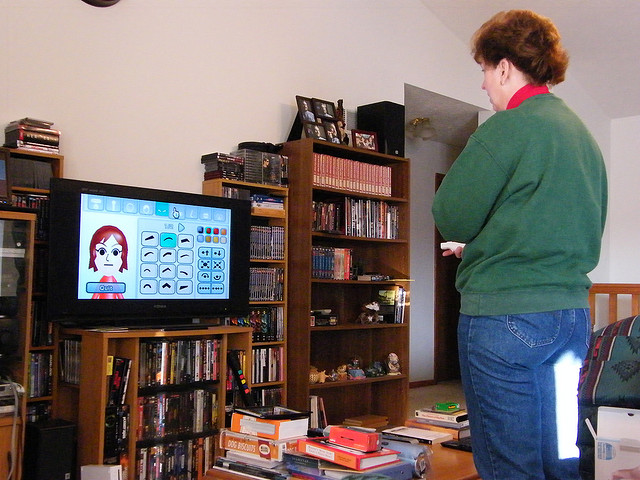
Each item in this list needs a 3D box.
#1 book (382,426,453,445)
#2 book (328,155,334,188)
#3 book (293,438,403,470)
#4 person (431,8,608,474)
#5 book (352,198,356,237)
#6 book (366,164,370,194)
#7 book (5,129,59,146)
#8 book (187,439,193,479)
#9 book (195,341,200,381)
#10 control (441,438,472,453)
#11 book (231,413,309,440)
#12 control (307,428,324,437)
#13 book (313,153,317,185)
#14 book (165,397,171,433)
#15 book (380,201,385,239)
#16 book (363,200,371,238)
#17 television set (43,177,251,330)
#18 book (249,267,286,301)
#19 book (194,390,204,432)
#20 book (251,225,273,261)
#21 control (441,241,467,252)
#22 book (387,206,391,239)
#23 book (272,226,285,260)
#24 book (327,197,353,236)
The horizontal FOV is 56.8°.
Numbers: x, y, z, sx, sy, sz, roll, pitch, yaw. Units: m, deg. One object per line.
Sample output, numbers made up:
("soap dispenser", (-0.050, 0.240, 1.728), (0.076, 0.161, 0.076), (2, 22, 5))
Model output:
("book", (0.453, 0.916, 2.803), (0.154, 0.019, 0.210), (2, -4, -44))
("book", (0.074, -0.487, 4.325), (0.035, 0.225, 0.058), (-9, -13, 38))
("book", (0.061, 0.738, 2.057), (0.171, 0.026, 0.164), (6, -5, -42))
("person", (0.642, -0.006, 1.861), (0.559, 1.449, 0.318), (-3, -11, 9))
("book", (0.257, -0.167, 4.509), (0.031, 0.280, 0.041), (-1, -10, -3))
("book", (0.369, -0.467, 4.603), (0.030, 0.223, 0.042), (1, -11, -12))
("book", (-1.572, -0.544, 3.187), (0.270, 0.069, 0.115), (1, -10, -11))
("book", (-0.736, 1.232, 3.334), (0.026, 0.214, 0.045), (1, -11, -11))
("book", (-0.710, 0.697, 3.410), (0.035, 0.222, 0.027), (8, -14, -39))
("control", (0.608, 0.916, 2.661), (0.126, 0.028, 0.249), (-3, -9, 9))
("book", (-0.162, 0.716, 2.282), (0.144, 0.032, 0.149), (-4, -7, 44))
("control", (-0.028, 0.779, 2.411), (0.038, 0.016, 0.048), (-3, -6, 42))
("book", (-0.040, -0.499, 4.212), (0.029, 0.223, 0.074), (-6, -12, 26))
("book", (-0.841, 0.963, 3.257), (0.042, 0.184, 0.027), (4, -12, -27))
("book", (0.496, -0.156, 4.699), (0.036, 0.291, 0.076), (-2, -10, 6))
("book", (0.374, -0.162, 4.602), (0.030, 0.288, 0.074), (-9, -13, 37))
("television set", (-0.962, 0.120, 3.462), (0.343, 0.783, 1.299), (-5, -6, 44))
("book", (-0.378, 0.303, 4.043), (0.311, 0.195, 0.073), (5, 1, -43))
("book", (-0.697, 0.975, 3.378), (0.025, 0.226, 0.063), (-10, -14, 41))
("book", (-0.409, 0.004, 4.142), (0.160, 0.214, 0.246), (1, 14, -6))
("control", (0.449, 0.022, 1.974), (0.086, 0.031, 0.028), (-3, -9, 32))
("book", (0.552, -0.134, 4.747), (0.030, 0.250, 0.045), (1, -11, -11))
("book", (-0.288, 0.024, 4.114), (0.067, 0.185, 0.148), (1, -3, -1))
("book", (0.122, -0.168, 4.550), (0.254, 0.281, 0.172), (-1, 3, 3))
